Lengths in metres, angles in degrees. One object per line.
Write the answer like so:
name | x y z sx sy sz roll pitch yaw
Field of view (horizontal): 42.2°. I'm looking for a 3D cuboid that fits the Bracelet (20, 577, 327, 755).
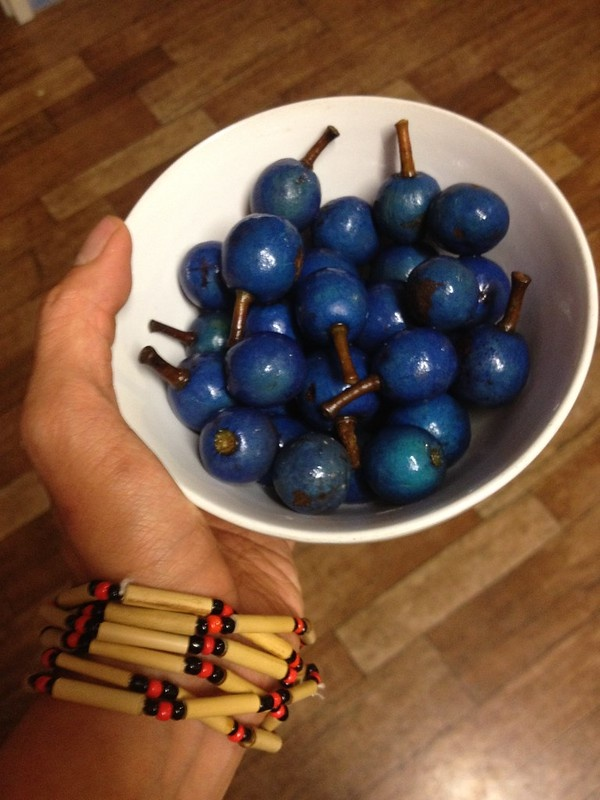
Bracelet | -0.106 0.267 0.787 0.319 0.074 0.145 12 80 -16
